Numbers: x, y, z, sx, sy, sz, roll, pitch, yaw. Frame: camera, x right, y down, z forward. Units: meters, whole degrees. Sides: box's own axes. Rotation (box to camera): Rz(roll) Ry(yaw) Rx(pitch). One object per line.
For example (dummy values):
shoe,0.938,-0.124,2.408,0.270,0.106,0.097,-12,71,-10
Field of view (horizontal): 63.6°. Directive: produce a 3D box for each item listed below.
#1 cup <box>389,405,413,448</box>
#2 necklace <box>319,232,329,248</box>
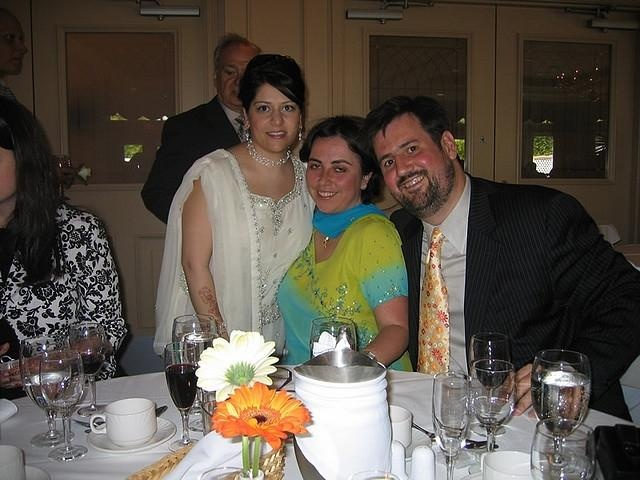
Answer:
cup,0.227,0.517,1.425,0.064,0.073,0.099,-3,-5,41
necklace,0.024,0.002,2.504,0.041,0.062,0.061,1,30,0
